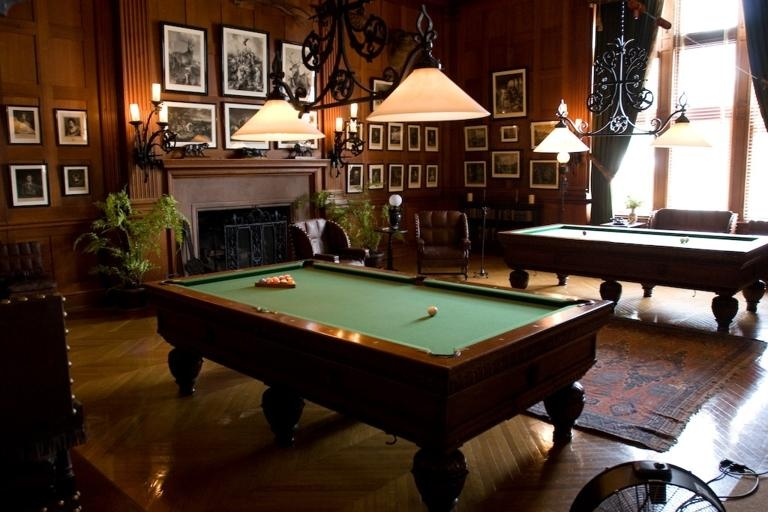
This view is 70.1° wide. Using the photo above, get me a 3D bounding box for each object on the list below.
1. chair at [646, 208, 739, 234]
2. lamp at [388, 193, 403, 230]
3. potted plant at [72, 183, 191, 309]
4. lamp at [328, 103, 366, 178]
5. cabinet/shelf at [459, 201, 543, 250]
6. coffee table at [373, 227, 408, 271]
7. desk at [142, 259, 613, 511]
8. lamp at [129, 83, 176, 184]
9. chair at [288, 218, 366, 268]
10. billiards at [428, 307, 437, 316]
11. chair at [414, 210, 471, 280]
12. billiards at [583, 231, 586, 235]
[{"bbox_3d":[4.909,-0.579,8.669,0.990,0.455,0.482,6,6,32],"label":"chair"},{"bbox_3d":[0.188,-0.744,8.953,0.254,0.536,0.242,0,7,-8],"label":"lamp"},{"bbox_3d":[-3.407,-0.109,7.794,1.630,1.534,1.550,-1,1,-19],"label":"potted plant"},{"bbox_3d":[-0.601,-1.977,9.416,0.700,1.182,0.521,7,6,43],"label":"lamp"},{"bbox_3d":[2.250,-0.575,11.021,1.541,0.899,0.262,5,2,28],"label":"cabinet/shelf"},{"bbox_3d":[0.073,-0.145,9.193,0.792,0.776,0.756,2,-2,-11],"label":"coffee table"},{"bbox_3d":[-0.174,0.802,4.676,3.484,1.118,1.824,8,16,35],"label":"desk"},{"bbox_3d":[-3.234,-1.737,7.654,0.594,1.361,0.769,-6,14,-20],"label":"lamp"},{"bbox_3d":[-0.858,-0.137,8.089,0.864,1.023,0.820,7,12,44],"label":"chair"},{"bbox_3d":[0.348,0.408,4.123,0.062,0.061,0.071,7,4,-19],"label":"billiards"},{"bbox_3d":[0.938,-0.232,9.221,0.916,1.041,0.921,-1,9,-2],"label":"chair"},{"bbox_3d":[2.885,-0.337,7.912,0.046,0.023,0.044,-11,14,-10],"label":"billiards"}]
